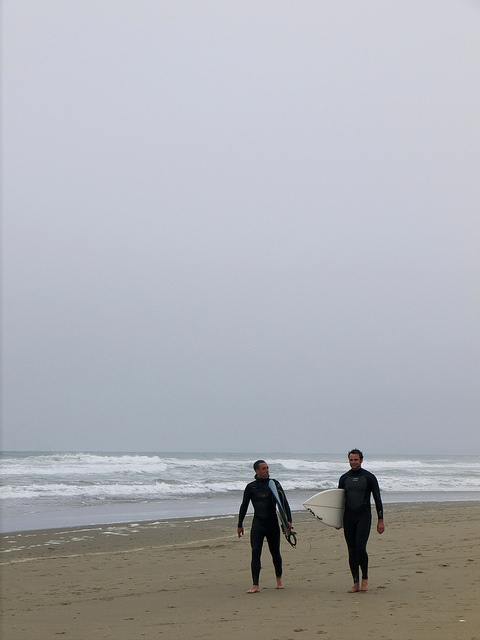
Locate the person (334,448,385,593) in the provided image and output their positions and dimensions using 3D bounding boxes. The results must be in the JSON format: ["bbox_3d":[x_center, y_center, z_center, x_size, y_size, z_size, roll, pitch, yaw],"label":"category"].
[{"bbox_3d":[1.260,2.077,7.560,0.482,1.460,1.702,1,-8,11],"label":"person"}]
